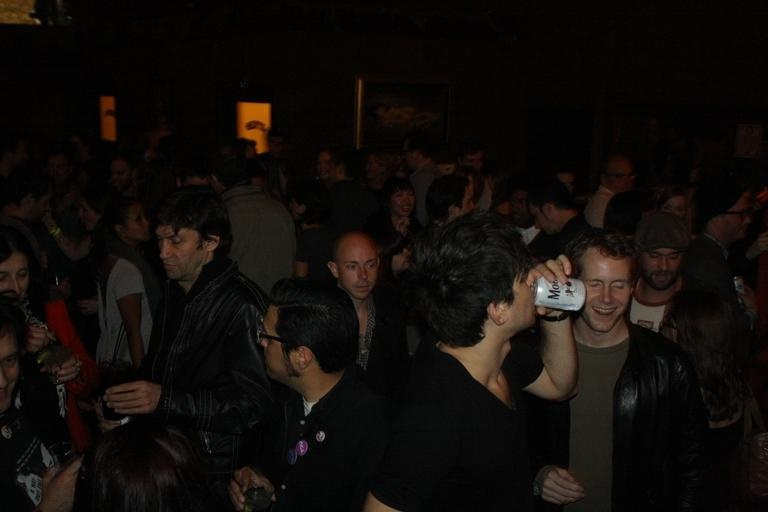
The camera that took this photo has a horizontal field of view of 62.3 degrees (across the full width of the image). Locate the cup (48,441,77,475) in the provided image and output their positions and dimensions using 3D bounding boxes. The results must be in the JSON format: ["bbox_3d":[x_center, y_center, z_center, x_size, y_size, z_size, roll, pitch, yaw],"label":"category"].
[{"bbox_3d":[-1.892,1.167,3.724,0.175,0.177,0.163,7,24,-3],"label":"cup"}]

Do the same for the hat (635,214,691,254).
[{"bbox_3d":[2.160,-0.124,4.840,0.448,0.183,0.608,-16,-18,31],"label":"hat"}]
